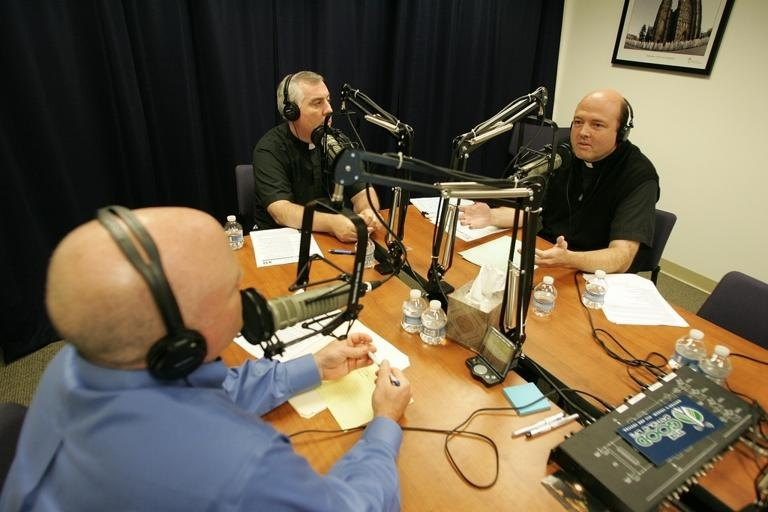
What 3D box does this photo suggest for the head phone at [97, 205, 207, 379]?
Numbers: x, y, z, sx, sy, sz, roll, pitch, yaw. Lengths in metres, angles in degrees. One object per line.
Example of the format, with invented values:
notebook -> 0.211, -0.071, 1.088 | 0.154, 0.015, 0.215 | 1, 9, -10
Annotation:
head phone -> -0.787, 0.141, 1.631 | 0.178, 0.465, 0.490 | -26, 32, -37

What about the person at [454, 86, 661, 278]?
person -> 1.145, -0.370, 3.016 | 1.161, 0.948, 1.137 | -12, 24, -21

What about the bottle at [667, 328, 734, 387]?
bottle -> 1.354, 0.442, 2.121 | 0.109, 0.189, 0.186 | -25, 33, -32

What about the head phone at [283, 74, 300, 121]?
head phone -> -0.567, -0.946, 3.034 | 0.097, 0.264, 0.181 | -2, 33, -7

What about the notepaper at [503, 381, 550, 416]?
notepaper -> 0.580, 0.570, 1.996 | 0.170, 0.047, 0.123 | -6, 35, -14

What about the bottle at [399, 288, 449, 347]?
bottle -> 0.181, 0.244, 2.247 | 0.263, 0.243, 0.148 | 20, 32, 36

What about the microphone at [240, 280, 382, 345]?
microphone -> -0.253, 0.158, 1.851 | 0.490, 0.198, 0.192 | -15, 11, -33
